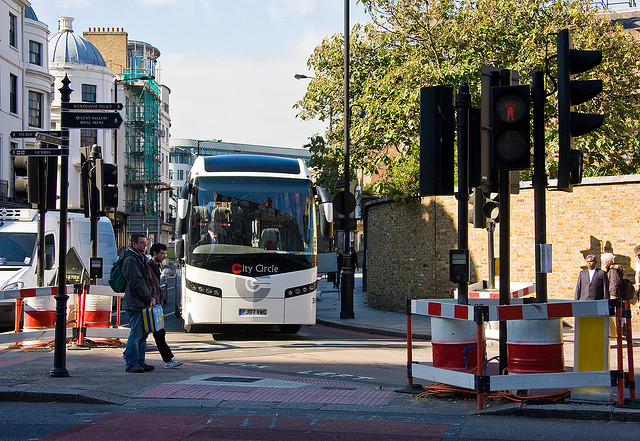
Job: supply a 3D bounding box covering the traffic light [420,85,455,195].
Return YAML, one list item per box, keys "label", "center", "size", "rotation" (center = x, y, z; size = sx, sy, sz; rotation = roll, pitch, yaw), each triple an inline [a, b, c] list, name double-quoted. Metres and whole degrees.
- label: "traffic light"
  center: [2.083, -1.456, 18.660]
  size: [0.571, 1.846, 0.683]
  rotation: [-1, 14, 4]

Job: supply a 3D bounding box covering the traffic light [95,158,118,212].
- label: "traffic light"
  center: [-4.920, -0.864, 24.573]
  size: [0.563, 1.090, 0.425]
  rotation: [0, -1, 19]

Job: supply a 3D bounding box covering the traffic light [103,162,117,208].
- label: "traffic light"
  center: [-4.974, -0.806, 24.687]
  size: [0.309, 1.090, 0.712]
  rotation: [-4, 14, -11]

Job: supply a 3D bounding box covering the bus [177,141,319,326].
- label: "bus"
  center: [-2.315, 0.589, 30.205]
  size: [3.460, 4.765, 10.587]
  rotation: [0, -4, -6]

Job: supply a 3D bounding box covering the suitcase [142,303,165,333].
- label: "suitcase"
  center: [-3.308, 1.941, 20.489]
  size: [0.217, 0.571, 0.614]
  rotation: [-11, -3, 19]

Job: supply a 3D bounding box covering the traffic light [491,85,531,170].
- label: "traffic light"
  center: [3.330, -1.678, 18.337]
  size: [0.721, 1.524, 0.519]
  rotation: [-1, -1, 14]

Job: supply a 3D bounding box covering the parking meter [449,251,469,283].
- label: "parking meter"
  center: [2.504, 0.830, 18.591]
  size: [0.421, 0.601, 0.418]
  rotation: [0, -1, -40]

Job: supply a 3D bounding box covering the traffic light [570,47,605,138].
- label: "traffic light"
  center: [4.619, -2.261, 18.333]
  size: [0.628, 1.585, 0.363]
  rotation: [0, 1, 22]

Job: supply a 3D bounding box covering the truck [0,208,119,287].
- label: "truck"
  center: [-6.921, 0.790, 28.701]
  size: [1.647, 2.100, 4.449]
  rotation: [-2, -5, 12]

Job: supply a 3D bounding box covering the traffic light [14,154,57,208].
- label: "traffic light"
  center: [-6.063, -0.912, 21.776]
  size: [0.667, 1.042, 0.713]
  rotation: [-1, 2, -43]

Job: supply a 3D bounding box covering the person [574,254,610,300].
- label: "person"
  center: [6.357, 1.369, 24.334]
  size: [0.768, 1.035, 0.684]
  rotation: [3, 14, 17]

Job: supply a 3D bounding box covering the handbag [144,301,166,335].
- label: "handbag"
  center: [-3.308, 1.956, 20.727]
  size: [0.240, 0.597, 0.642]
  rotation: [-7, 6, 8]
